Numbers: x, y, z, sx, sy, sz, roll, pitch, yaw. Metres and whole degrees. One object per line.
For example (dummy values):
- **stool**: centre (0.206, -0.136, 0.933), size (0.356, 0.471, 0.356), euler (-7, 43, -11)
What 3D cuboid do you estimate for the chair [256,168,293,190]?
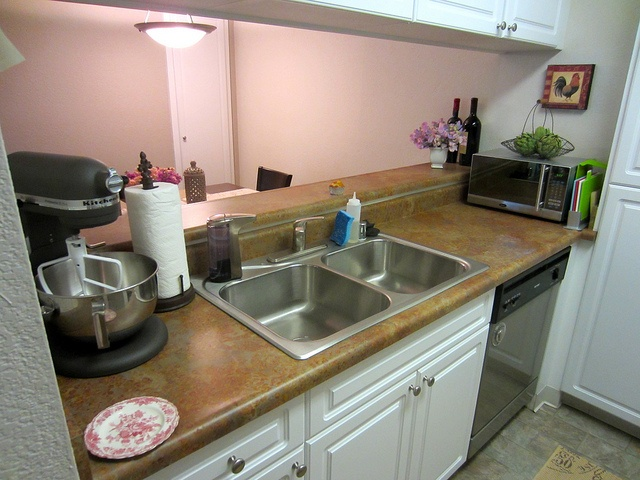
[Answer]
- **chair**: centre (-0.365, -0.444, 3.454), size (0.178, 0.174, 0.523), euler (-10, 21, -19)

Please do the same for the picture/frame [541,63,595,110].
- **picture/frame**: centre (1.320, -0.813, 2.377), size (0.034, 0.240, 0.249), euler (-17, 24, -35)

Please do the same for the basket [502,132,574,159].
- **basket**: centre (1.148, -0.485, 2.325), size (0.241, 0.093, 0.243), euler (9, 16, 34)

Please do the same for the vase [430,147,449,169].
- **vase**: centre (0.692, -0.479, 2.617), size (0.109, 0.098, 0.108), euler (2, 21, 10)

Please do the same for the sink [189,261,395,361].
- **sink**: centre (-0.022, 0.245, 1.585), size (0.360, 0.165, 0.421), euler (-18, 30, -39)

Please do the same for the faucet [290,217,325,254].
- **faucet**: centre (-0.057, -0.032, 1.792), size (0.115, 0.141, 0.097), euler (-5, 21, -4)

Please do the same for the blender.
- **blender**: centre (-0.592, 0.045, 1.176), size (0.295, 0.546, 0.283), euler (-14, 23, -26)

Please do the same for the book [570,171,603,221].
- **book**: centre (1.257, -0.205, 2.136), size (0.037, 0.146, 0.206), euler (14, 34, 41)

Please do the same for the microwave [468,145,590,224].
- **microwave**: centre (1.063, -0.299, 2.390), size (0.498, 0.286, 0.328), euler (19, 24, 39)

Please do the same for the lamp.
- **lamp**: centre (-0.897, -1.296, 2.780), size (0.422, 0.165, 0.506), euler (-9, 21, -17)

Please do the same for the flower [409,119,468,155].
- **flower**: centre (0.717, -0.619, 2.674), size (0.326, 0.148, 0.328), euler (5, 11, 20)
